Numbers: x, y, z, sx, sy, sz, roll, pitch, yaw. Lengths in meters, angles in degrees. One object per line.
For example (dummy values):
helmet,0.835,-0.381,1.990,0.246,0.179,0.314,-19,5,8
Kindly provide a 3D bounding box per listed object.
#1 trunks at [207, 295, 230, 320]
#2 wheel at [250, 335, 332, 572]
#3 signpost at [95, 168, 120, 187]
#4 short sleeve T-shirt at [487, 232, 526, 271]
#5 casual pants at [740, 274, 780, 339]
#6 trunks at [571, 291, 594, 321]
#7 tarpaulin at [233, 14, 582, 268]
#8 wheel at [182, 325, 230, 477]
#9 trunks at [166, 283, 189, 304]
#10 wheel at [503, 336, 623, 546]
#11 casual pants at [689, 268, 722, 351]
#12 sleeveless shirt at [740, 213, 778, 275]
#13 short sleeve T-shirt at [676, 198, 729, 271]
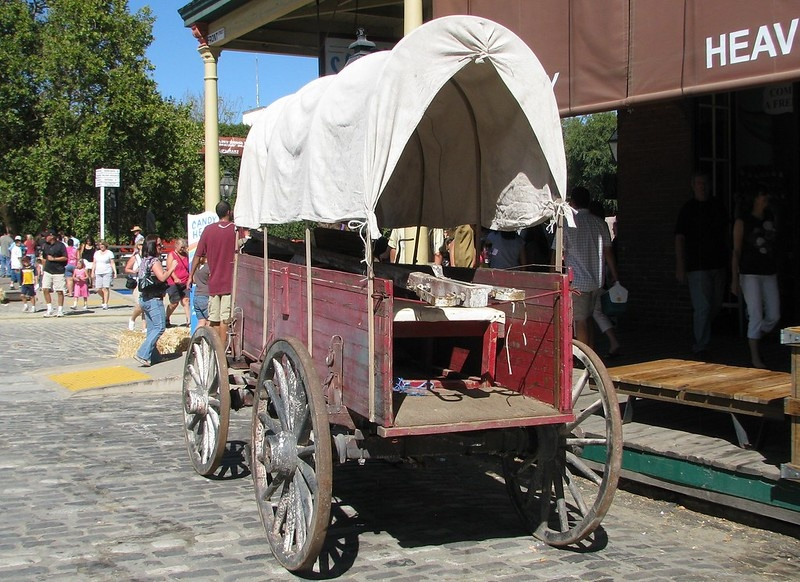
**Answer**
trunks,-2.681,0.243,10.486,0.324,0.471,0.240,3,-3,-36
wheel,-0.760,1.180,5.043,0.264,1.218,1.159,0,27,-26
signpost,-11.832,-4.603,28.602,0.766,0.826,1.446,-2,5,-30
short sleeve T-shirt,1.519,-0.679,10.232,0.610,0.377,0.696,12,-36,10
casual pants,4.172,0.180,8.194,0.403,0.754,0.268,3,5,27
trunks,2.217,0.170,8.588,0.219,0.353,0.345,0,4,-13
tarpaulin,-0.182,-1.357,6.612,1.964,1.659,3.221,-3,7,-32
wheel,-1.847,1.096,6.741,0.374,1.391,1.281,0,2,-23
trunks,-4.494,0.028,14.145,0.321,0.543,0.526,0,1,37
wheel,1.254,1.229,5.540,0.450,1.587,1.466,2,-3,-22
casual pants,3.989,0.244,9.170,0.451,1.177,0.381,5,-1,-10
sleeveless shirt,4.173,-0.550,8.206,0.375,0.707,0.295,2,4,19
short sleeve T-shirt,3.910,-0.721,9.067,0.478,0.978,0.772,4,-8,-33
